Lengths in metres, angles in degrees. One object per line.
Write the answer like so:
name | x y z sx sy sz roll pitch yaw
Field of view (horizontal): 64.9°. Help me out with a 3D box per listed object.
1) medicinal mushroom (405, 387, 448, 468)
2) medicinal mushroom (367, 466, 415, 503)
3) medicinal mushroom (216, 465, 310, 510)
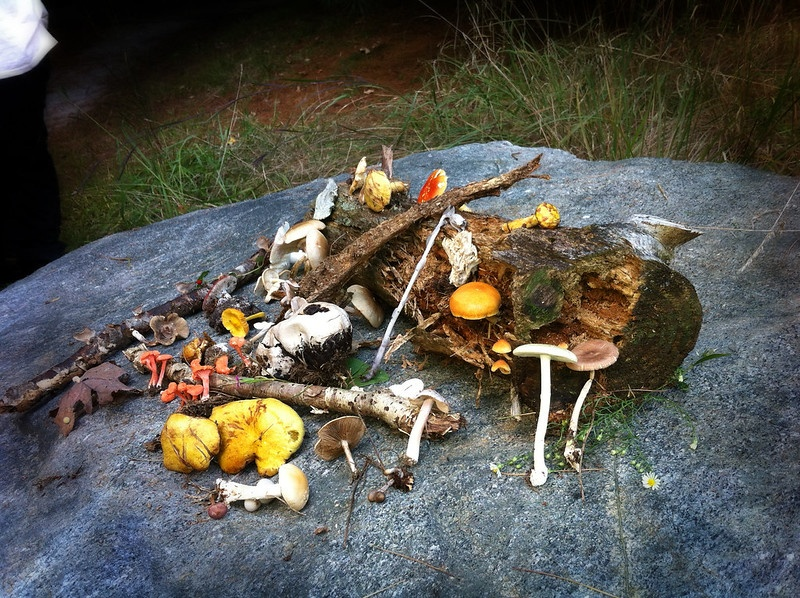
medicinal mushroom | 0.192 0.843 4.360 0.257 0.196 0.402 4 76 32
medicinal mushroom | -0.057 1.246 4.158 0.270 0.101 0.208 -35 59 -20
medicinal mushroom | -0.922 1.232 4.223 0.580 0.269 0.236 1 18 11
